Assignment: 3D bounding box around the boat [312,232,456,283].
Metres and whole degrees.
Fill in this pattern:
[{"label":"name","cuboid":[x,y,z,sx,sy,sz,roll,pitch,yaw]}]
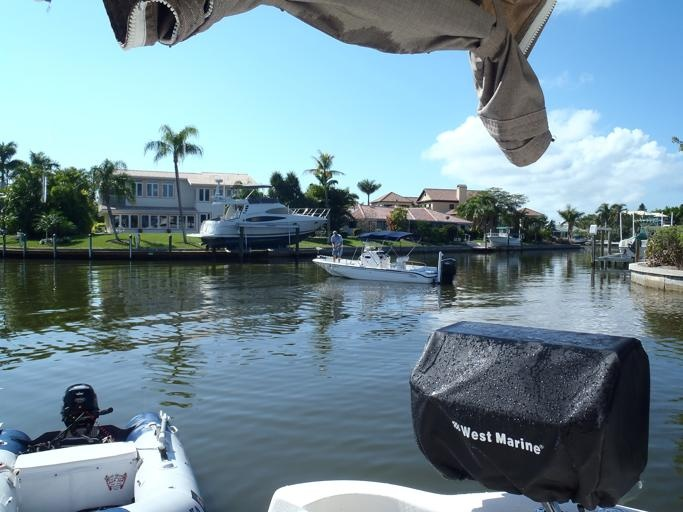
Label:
[{"label":"boat","cuboid":[2.303,0.491,28.305,7.080,1.975,1.610,0,3,33]}]
